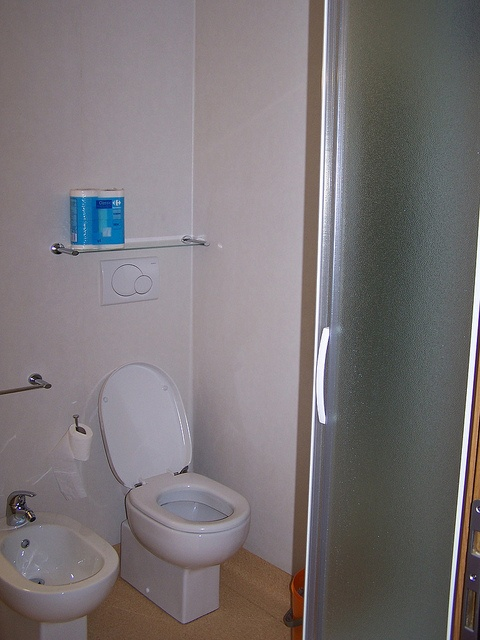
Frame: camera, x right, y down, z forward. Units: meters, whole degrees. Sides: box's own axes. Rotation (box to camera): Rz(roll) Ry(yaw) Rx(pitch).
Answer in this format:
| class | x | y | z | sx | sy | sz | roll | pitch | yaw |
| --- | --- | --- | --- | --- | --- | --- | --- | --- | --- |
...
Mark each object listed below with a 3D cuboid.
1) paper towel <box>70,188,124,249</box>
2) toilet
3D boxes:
| class | x | y | z | sx | sy | sz | roll | pitch | yaw |
| --- | --- | --- | --- | --- | --- | --- | --- | --- | --- |
| paper towel | -0.489 | -0.343 | 1.880 | 0.129 | 0.193 | 0.069 | -8 | 16 | -37 |
| toilet | -0.229 | 0.619 | 1.990 | 0.443 | 0.873 | 0.301 | 7 | 13 | 38 |
